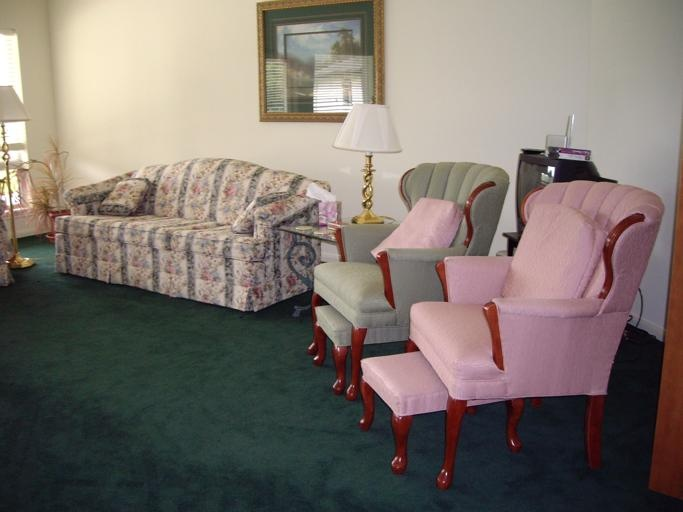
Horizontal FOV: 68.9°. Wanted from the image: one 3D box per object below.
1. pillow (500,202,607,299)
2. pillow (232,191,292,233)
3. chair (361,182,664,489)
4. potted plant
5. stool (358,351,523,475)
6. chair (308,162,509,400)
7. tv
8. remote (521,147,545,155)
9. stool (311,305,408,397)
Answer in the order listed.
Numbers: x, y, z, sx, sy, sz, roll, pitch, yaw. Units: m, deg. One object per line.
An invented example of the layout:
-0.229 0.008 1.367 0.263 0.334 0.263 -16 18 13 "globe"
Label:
1.017 -0.018 2.335 0.290 0.447 0.503 -4 12 -14 "pillow"
-0.653 -0.360 4.146 0.400 0.313 0.468 4 14 24 "pillow"
0.796 0.317 2.467 1.340 1.158 0.913 -9 15 -1 "chair"
-3.660 -0.844 6.479 0.614 1.202 0.623 -2 -1 -39 "potted plant"
0.443 0.538 2.286 0.557 0.403 0.688 -4 9 -20 "stool"
0.410 0.050 3.220 1.259 1.210 1.071 -3 17 1 "chair"
1.398 -0.376 3.440 0.715 0.655 0.652 -1 9 9 "tv"
1.384 -0.747 3.570 0.137 0.039 0.464 3 13 18 "remote"
0.063 0.492 2.937 0.654 0.294 0.479 -6 11 -37 "stool"
